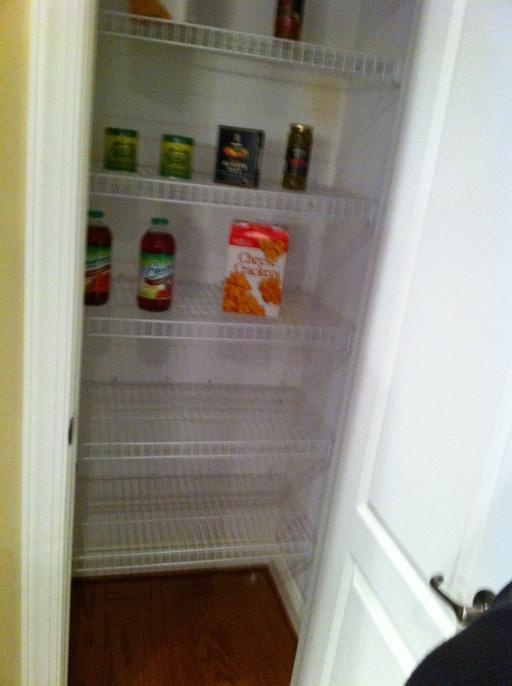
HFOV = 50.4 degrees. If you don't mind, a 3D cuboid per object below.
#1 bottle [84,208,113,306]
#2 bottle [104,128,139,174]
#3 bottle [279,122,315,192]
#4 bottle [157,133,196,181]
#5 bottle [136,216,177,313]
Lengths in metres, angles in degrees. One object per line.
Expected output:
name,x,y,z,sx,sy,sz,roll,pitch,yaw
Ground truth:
bottle,-0.357,-0.180,1.229,0.059,0.205,0.038,-6,25,-29
bottle,-0.295,-0.438,1.181,0.078,0.104,0.079,9,48,-10
bottle,0.099,-0.438,1.279,0.060,0.142,0.127,8,22,4
bottle,-0.174,-0.405,1.186,0.070,0.089,0.060,2,23,-11
bottle,-0.242,-0.201,1.326,0.088,0.219,0.153,2,23,-10
